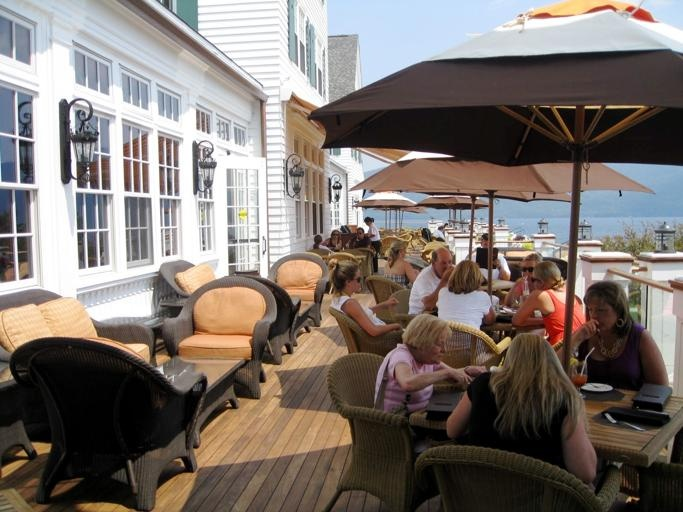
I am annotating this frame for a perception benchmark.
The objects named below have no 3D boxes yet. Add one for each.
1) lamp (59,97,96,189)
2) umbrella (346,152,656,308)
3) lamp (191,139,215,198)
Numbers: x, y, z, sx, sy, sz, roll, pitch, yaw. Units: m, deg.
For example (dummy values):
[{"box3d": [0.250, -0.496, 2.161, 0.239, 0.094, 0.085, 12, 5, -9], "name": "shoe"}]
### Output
[{"box3d": [-2.798, -1.240, 5.776, 0.338, 0.947, 0.651, -2, 7, -17], "name": "lamp"}, {"box3d": [1.517, -0.488, 6.368, 1.775, 1.232, 1.846, 1, 2, -15], "name": "umbrella"}, {"box3d": [-2.268, -1.474, 8.918, 0.342, 0.910, 0.726, -1, 7, -10], "name": "lamp"}]
